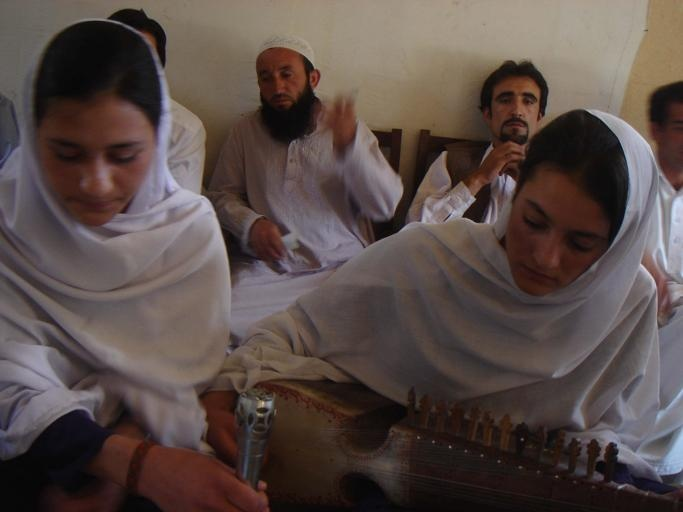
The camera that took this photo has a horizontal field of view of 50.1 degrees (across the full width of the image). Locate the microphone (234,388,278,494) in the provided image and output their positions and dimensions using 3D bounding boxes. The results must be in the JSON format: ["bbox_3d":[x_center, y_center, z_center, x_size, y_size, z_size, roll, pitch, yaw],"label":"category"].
[{"bbox_3d":[-0.183,0.408,1.560,0.078,0.265,0.067,-1,24,-8],"label":"microphone"}]

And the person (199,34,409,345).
[{"bbox_3d":[-0.170,-0.284,2.979,0.962,1.301,0.932,-1,34,1],"label":"person"}]

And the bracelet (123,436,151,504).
[{"bbox_3d":[-0.465,0.511,1.694,0.070,0.148,0.076,-6,26,-19],"label":"bracelet"}]
